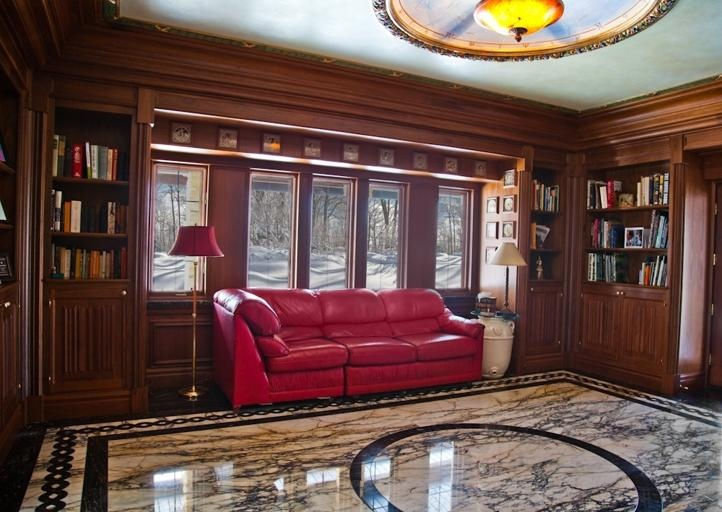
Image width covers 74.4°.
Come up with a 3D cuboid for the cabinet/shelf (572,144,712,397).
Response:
[{"bbox_3d":[3.738,0.083,6.294,0.762,3.123,1.426,-2,8,-31],"label":"cabinet/shelf"}]

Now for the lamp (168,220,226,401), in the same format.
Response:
[{"bbox_3d":[-1.825,0.582,5.319,0.513,1.850,0.731,0,7,-17],"label":"lamp"}]

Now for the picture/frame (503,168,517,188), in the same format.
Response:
[{"bbox_3d":[2.071,-1.073,6.564,0.072,0.293,0.329,3,-1,-21],"label":"picture/frame"}]

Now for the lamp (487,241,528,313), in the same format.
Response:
[{"bbox_3d":[1.922,0.279,6.208,0.449,0.940,0.720,4,7,18],"label":"lamp"}]

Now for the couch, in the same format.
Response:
[{"bbox_3d":[-0.007,0.998,5.812,3.339,1.074,1.112,1,5,-33],"label":"couch"}]
